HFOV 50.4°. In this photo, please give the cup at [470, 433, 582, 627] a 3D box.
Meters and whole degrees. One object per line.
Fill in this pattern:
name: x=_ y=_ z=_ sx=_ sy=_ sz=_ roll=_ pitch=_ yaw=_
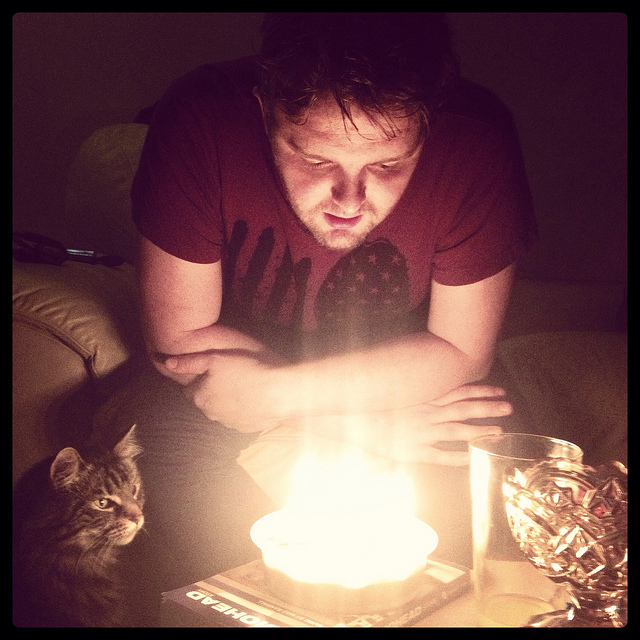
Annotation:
cup: x=0.352 y=0.386 z=1.237 sx=0.188 sy=0.341 sz=0.163 roll=10 pitch=20 yaw=19
